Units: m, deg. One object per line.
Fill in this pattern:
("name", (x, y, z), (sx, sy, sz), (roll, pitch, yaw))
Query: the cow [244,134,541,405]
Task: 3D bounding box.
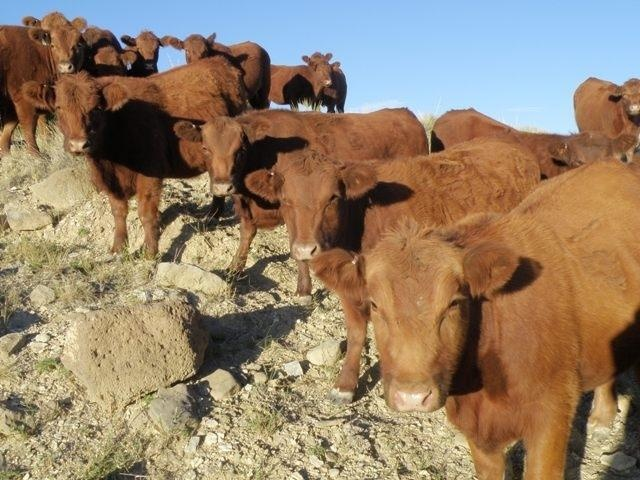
("cow", (0.729, 0.112, 7.782), (3.845, 2.553, 1.908), (-5, 4, -32))
